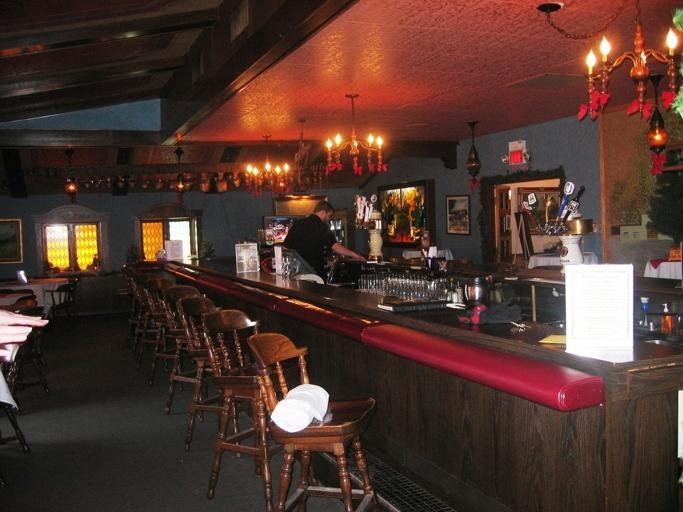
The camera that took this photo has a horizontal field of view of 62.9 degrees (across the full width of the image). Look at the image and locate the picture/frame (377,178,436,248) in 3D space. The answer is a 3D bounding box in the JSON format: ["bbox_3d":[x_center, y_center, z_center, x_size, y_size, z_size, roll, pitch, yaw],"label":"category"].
[{"bbox_3d":[1.436,-0.954,12.808,0.185,1.427,1.970,-5,5,-28],"label":"picture/frame"}]

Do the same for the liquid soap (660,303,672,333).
[{"bbox_3d":[2.268,0.464,3.897,0.071,0.137,0.110,-3,7,18],"label":"liquid soap"}]

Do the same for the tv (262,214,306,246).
[{"bbox_3d":[-1.235,-0.531,11.189,1.129,0.762,0.148,0,0,-13],"label":"tv"}]

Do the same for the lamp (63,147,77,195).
[{"bbox_3d":[-5.581,-1.733,11.489,0.243,0.876,1.088,-8,7,-25],"label":"lamp"}]

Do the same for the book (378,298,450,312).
[{"bbox_3d":[0.487,0.339,3.852,0.496,0.079,0.217,-4,6,10],"label":"book"}]

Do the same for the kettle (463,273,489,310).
[{"bbox_3d":[0.878,0.236,3.738,0.202,0.197,0.151,-1,1,12],"label":"kettle"}]

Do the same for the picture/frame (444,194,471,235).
[{"bbox_3d":[2.292,-0.833,10.952,0.063,0.903,0.850,-1,0,-23],"label":"picture/frame"}]

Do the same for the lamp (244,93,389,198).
[{"bbox_3d":[-0.496,-2.110,10.532,1.872,0.902,1.818,-1,2,18],"label":"lamp"}]
